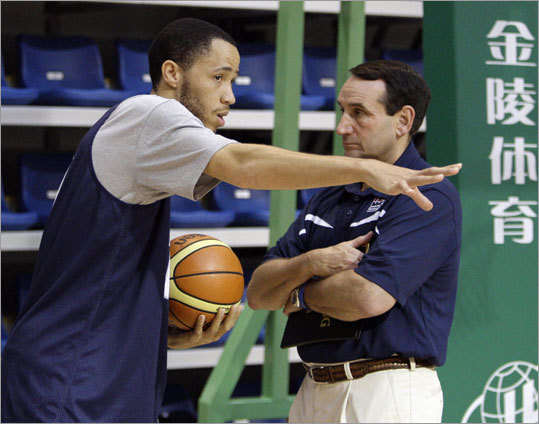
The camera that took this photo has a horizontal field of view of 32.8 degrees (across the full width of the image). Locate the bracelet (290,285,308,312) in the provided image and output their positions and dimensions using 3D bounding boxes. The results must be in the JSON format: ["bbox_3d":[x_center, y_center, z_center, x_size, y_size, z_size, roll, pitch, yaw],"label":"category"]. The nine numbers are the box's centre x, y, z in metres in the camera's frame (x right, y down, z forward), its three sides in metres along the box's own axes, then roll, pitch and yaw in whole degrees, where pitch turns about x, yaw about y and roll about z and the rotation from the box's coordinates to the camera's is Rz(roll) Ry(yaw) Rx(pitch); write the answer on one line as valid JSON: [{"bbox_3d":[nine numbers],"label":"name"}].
[{"bbox_3d":[0.130,0.391,4.133,0.115,0.113,0.074,5,-7,-39],"label":"bracelet"}]
